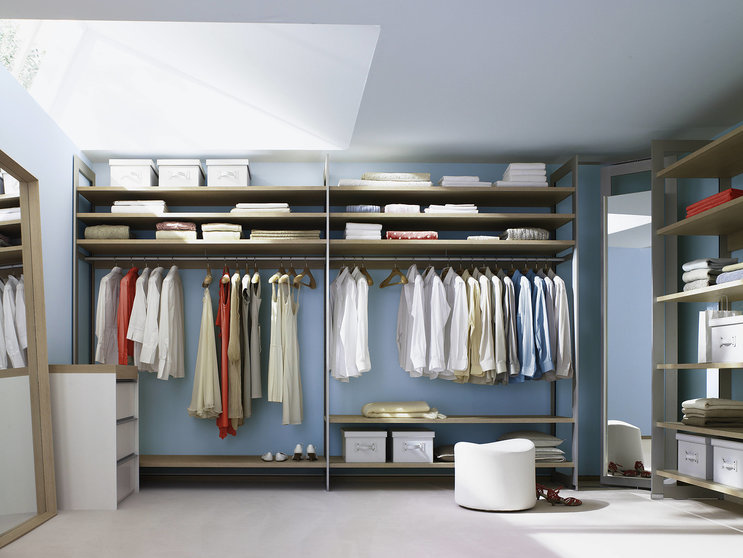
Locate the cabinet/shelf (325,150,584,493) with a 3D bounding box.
[{"bbox_3d":[0.736,0.491,6.329,3.355,3.592,1.082,0,1,4],"label":"cabinet/shelf"}]

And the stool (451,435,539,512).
[{"bbox_3d":[1.039,1.625,5.762,0.742,0.508,0.711,1,-10,-12],"label":"stool"}]

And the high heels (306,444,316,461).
[{"bbox_3d":[-0.554,1.578,6.319,0.093,0.134,0.266,0,0,-6],"label":"high heels"}]

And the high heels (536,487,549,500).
[{"bbox_3d":[1.418,1.783,5.705,0.111,0.101,0.103,0,-9,-4],"label":"high heels"}]

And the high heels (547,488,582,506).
[{"bbox_3d":[1.586,1.799,5.645,0.240,0.079,0.141,-1,-5,19],"label":"high heels"}]

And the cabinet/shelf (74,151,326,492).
[{"bbox_3d":[-1.617,0.444,6.226,3.222,3.445,0.933,0,-6,-5],"label":"cabinet/shelf"}]

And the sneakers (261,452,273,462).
[{"bbox_3d":[-0.950,1.623,6.244,0.068,0.061,0.178,1,-5,-8],"label":"sneakers"}]

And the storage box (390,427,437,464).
[{"bbox_3d":[0.371,1.498,6.136,0.302,0.178,0.286,1,-8,-2],"label":"storage box"}]

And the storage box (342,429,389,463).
[{"bbox_3d":[-0.055,1.505,6.228,0.307,0.181,0.309,1,-7,-1],"label":"storage box"}]

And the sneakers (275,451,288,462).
[{"bbox_3d":[-0.827,1.614,6.246,0.071,0.052,0.113,-1,-11,1],"label":"sneakers"}]

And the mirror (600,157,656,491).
[{"bbox_3d":[2.364,0.413,6.416,0.774,2.994,0.113,4,-4,-30],"label":"mirror"}]

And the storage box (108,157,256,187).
[{"bbox_3d":[-1.772,-0.976,6.316,1.277,0.260,0.295,0,0,2],"label":"storage box"}]

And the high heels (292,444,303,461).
[{"bbox_3d":[-0.670,1.575,6.239,0.087,0.137,0.140,0,0,-4],"label":"high heels"}]

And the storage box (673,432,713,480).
[{"bbox_3d":[2.479,1.418,5.487,0.400,0.350,0.226,15,-20,-28],"label":"storage box"}]
